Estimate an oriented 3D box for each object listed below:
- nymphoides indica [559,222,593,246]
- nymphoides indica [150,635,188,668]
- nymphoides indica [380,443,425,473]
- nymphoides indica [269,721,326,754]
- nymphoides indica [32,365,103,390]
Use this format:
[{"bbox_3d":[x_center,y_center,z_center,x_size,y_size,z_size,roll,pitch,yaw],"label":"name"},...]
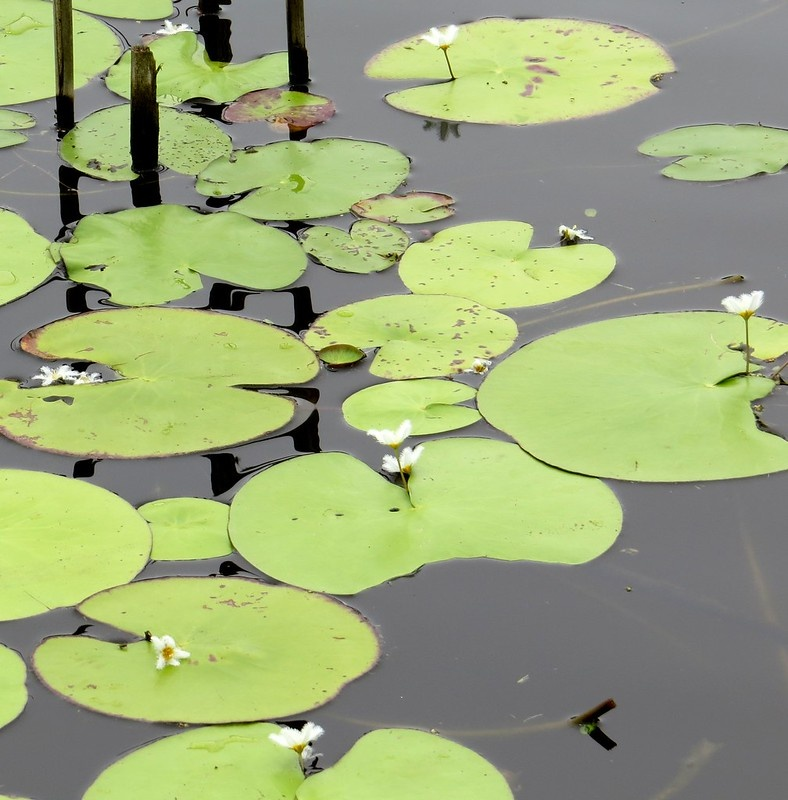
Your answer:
[{"bbox_3d":[0.770,-0.703,4.967,0.111,0.046,0.134,10,31,41],"label":"nymphoides indica"},{"bbox_3d":[-0.625,0.698,3.242,0.100,0.082,0.079,-9,27,-10],"label":"nymphoides indica"},{"bbox_3d":[0.022,0.193,3.798,0.120,0.051,0.116,-5,18,45],"label":"nymphoides indica"},{"bbox_3d":[-0.254,0.865,3.023,0.133,0.041,0.103,1,19,10],"label":"nymphoides indica"},{"bbox_3d":[-1.187,-0.088,4.210,0.244,0.047,0.227,-8,22,-13],"label":"nymphoides indica"}]
